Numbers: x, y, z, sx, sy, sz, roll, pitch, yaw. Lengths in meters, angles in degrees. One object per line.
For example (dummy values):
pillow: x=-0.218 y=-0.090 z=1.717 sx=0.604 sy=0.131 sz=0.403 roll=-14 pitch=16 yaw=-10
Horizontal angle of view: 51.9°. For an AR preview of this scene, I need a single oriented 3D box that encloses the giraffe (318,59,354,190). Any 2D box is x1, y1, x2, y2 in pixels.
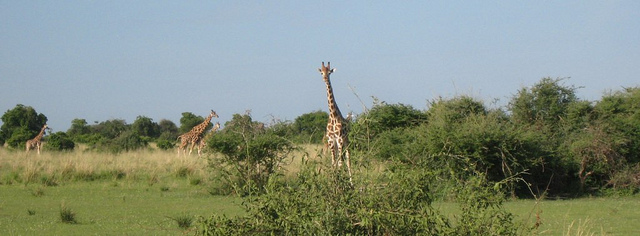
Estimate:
giraffe: x=1.857 y=0.401 z=61.715 sx=3.838 sy=10.170 sz=4.099 roll=1 pitch=-1 yaw=22
